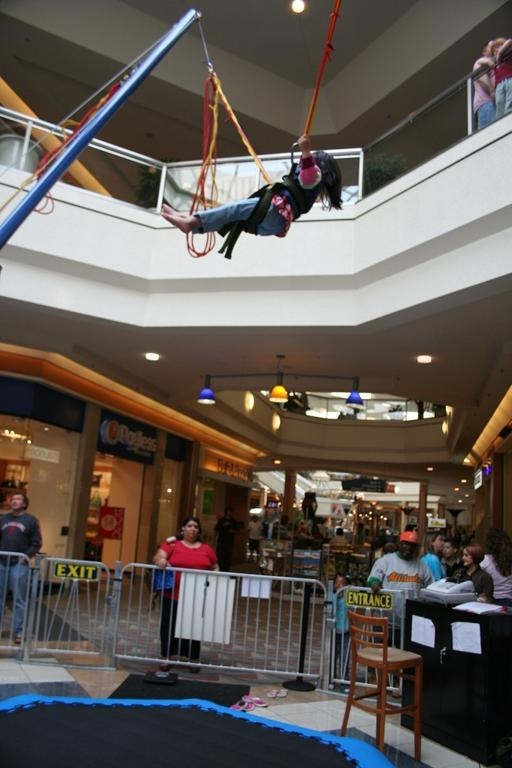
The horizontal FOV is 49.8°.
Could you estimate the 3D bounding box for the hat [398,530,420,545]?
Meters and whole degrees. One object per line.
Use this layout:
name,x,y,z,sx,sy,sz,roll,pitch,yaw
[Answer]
hat,1.492,1.484,5.375,0.178,0.134,0.251,3,-18,11

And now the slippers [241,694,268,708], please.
slippers,-0.033,2.365,4.091,0.230,0.080,0.093,-8,-31,40

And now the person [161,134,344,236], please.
person,-0.010,-1.050,2.959,0.991,0.604,0.525,-1,30,-5

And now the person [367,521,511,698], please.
person,1.578,1.912,4.938,0.715,1.056,1.035,19,-21,-18

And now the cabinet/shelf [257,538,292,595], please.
cabinet/shelf,0.457,4.175,13.254,0.882,0.811,0.534,3,-13,13

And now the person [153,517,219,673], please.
person,-0.670,1.977,5.168,0.617,1.340,0.556,9,-16,-20
